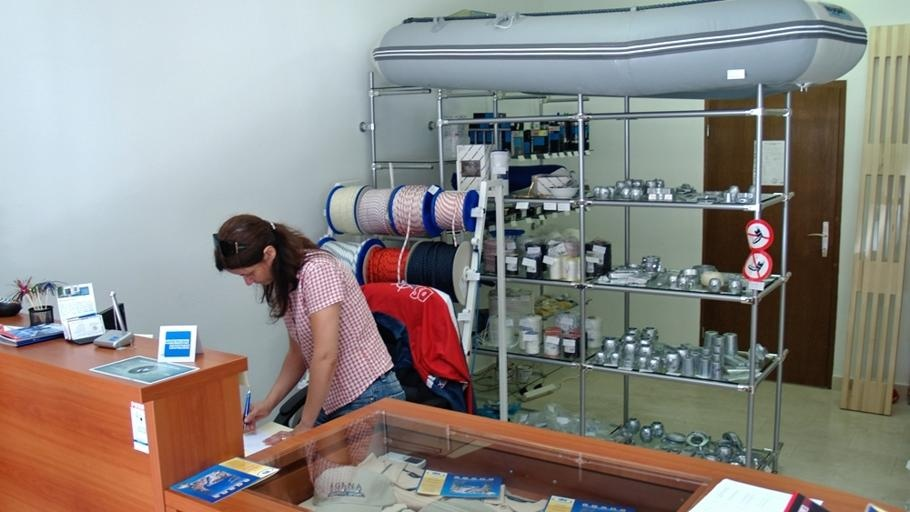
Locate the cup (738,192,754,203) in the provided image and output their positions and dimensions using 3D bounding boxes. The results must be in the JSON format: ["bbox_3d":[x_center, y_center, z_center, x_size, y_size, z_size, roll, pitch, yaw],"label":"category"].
[{"bbox_3d":[1.811,-0.357,3.860,0.078,0.058,0.110,-2,10,1],"label":"cup"}]

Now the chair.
[{"bbox_3d":[-0.461,0.515,4.123,0.929,1.106,0.976,2,9,22],"label":"chair"}]

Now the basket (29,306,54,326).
[{"bbox_3d":[-1.901,0.277,2.854,0.099,0.089,0.096,-1,5,-33],"label":"basket"}]
